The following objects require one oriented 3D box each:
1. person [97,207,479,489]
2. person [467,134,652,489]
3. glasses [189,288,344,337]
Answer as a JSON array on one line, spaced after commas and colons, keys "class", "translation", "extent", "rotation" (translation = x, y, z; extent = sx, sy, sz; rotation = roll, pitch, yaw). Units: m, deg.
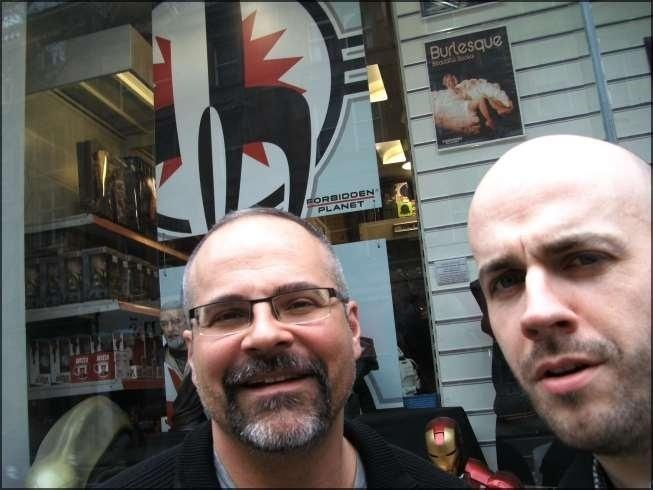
[{"class": "person", "translation": [-0.169, 0.258, 2.523], "extent": [1.443, 1.168, 0.975], "rotation": [-4, -29, 0]}, {"class": "person", "translation": [0.780, 0.190, 1.870], "extent": [0.573, 1.112, 0.234], "rotation": [-10, -11, 14]}, {"class": "glasses", "translation": [-0.200, 0.226, 2.087], "extent": [0.481, 0.127, 0.107], "rotation": [-7, -10, -5]}]
